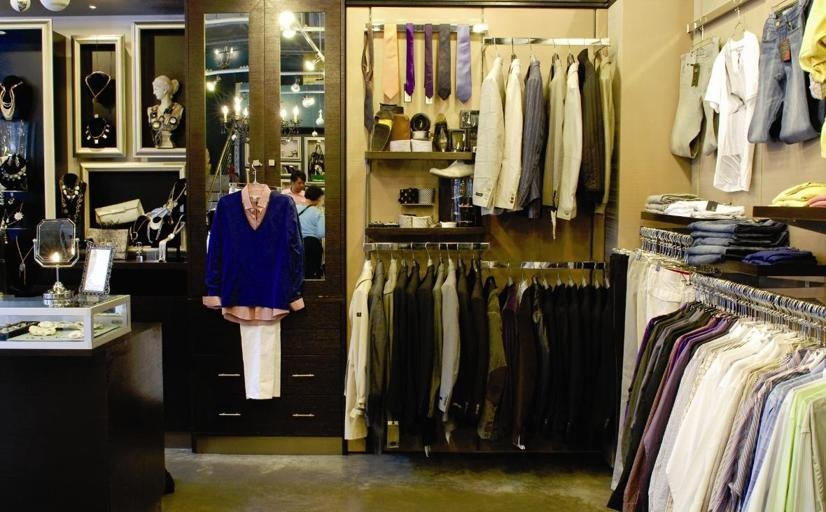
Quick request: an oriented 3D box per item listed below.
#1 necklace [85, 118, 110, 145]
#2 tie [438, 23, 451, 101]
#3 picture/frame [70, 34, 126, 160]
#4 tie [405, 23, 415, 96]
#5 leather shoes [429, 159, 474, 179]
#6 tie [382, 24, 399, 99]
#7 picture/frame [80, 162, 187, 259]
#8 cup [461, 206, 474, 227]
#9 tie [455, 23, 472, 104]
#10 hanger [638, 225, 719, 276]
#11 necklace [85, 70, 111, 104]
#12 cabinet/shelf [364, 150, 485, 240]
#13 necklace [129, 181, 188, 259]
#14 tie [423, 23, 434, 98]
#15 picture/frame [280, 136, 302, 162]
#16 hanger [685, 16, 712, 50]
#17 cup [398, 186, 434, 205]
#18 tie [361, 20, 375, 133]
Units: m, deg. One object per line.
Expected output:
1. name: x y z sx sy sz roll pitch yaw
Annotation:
1. necklace: -2.652 -1.054 5.907 0.187 0.213 0.117 -2 19 -6
2. tie: 0.242 -1.540 5.568 0.103 0.566 0.109 1 7 9
3. picture/frame: -2.628 -1.355 5.901 0.409 0.978 0.146 1 7 8
4. tie: -0.033 -1.551 5.550 0.078 0.562 0.069 0 7 -1
5. leather shoes: 0.323 -0.664 5.445 0.259 0.101 0.159 -1 2 -34
6. tie: -0.171 -1.545 5.581 0.150 0.595 0.111 -1 7 -4
7. picture/frame: -2.309 -0.379 5.824 0.815 0.494 0.040 -1 0 -2
8. cup: 0.429 -0.321 5.611 0.130 0.242 0.131 1 -2 0
9. tie: 0.404 -1.528 5.575 0.124 0.598 0.108 0 7 3
10. hanger: 1.695 -0.060 4.693 0.160 0.196 0.541 2 2 -33
11. necklace: -2.634 -1.416 5.888 0.240 0.238 0.147 2 39 -6
12. cabinet/shelf: 0.073 -0.403 5.719 1.213 0.814 0.627 0 -4 0
13. necklace: -2.096 -0.354 5.861 0.507 0.577 0.240 3 8 21
14. tie: 0.127 -1.542 5.562 0.078 0.577 0.093 0 7 -1
15. picture/frame: -0.937 -0.836 5.396 0.192 0.190 0.103 0 0 -1
16. hanger: 2.098 -1.659 5.205 0.069 0.194 0.225 -1 8 -9
17. cup: 0.024 -0.488 5.571 0.209 0.094 0.135 1 2 2
18. tie: -0.357 -1.398 5.544 0.097 0.832 0.169 -1 7 -4
